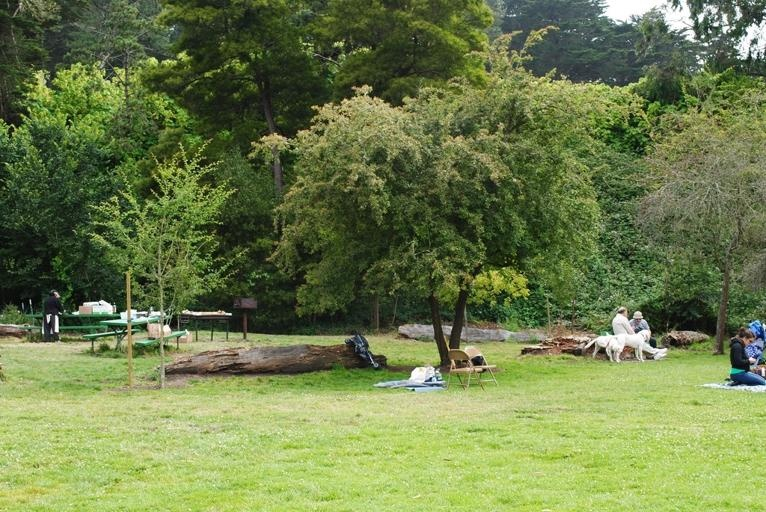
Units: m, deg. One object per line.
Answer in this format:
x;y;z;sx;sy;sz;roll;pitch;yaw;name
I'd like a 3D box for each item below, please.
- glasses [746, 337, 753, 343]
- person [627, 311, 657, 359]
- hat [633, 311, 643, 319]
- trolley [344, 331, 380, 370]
14.567;3.336;48.779;0.149;0.206;0.209;-8;-34;43;glasses
11.793;3.701;55.702;1.017;2.151;1.202;-35;29;-33;person
11.499;2.678;55.149;0.419;0.257;0.560;0;-2;6;hat
-1.097;3.775;51.753;0.866;0.574;1.548;3;21;-14;trolley
